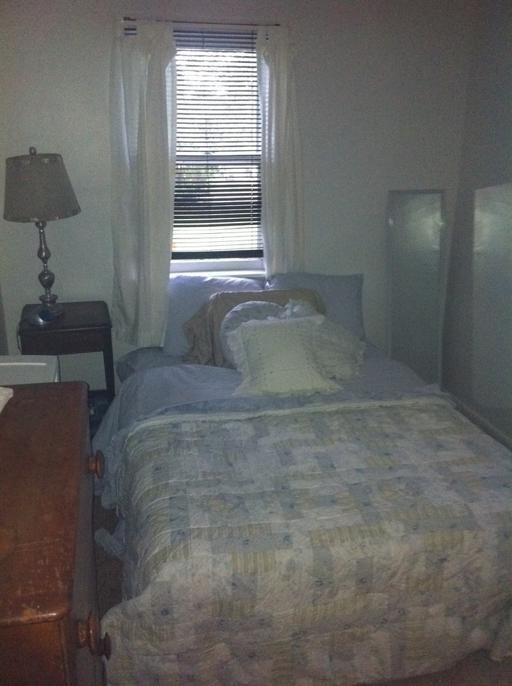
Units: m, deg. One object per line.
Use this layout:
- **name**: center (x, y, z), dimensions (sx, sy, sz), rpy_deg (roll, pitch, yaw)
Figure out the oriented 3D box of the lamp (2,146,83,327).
- **lamp**: center (-0.934, -0.441, 2.580), dimensions (0.316, 0.729, 0.255), rpy_deg (2, 12, 24)
